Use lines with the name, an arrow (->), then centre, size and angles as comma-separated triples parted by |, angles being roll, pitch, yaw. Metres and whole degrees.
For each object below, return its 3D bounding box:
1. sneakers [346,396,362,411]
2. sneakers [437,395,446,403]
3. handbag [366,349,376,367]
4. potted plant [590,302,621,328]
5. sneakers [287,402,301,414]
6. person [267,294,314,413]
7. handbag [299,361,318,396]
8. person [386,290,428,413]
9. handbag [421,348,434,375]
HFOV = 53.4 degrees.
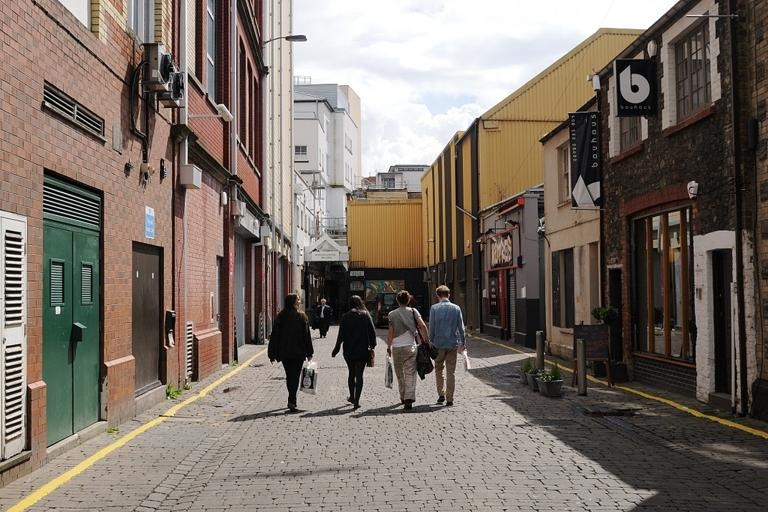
sneakers -> -0.585, 2.822, 14.651 | 0.110, 0.270, 0.344 | 3, 4, 21
sneakers -> 1.099, 2.802, 14.880 | 0.150, 0.157, 0.261 | -4, -6, 10
handbag -> -0.285, 1.953, 14.831 | 0.153, 0.309, 0.102 | 1, -6, -32
potted plant -> 5.321, 1.400, 18.218 | 0.517, 0.635, 0.572 | 5, -2, -18
sneakers -> -1.679, 2.819, 14.253 | 0.236, 0.194, 0.544 | -2, -7, -8
person -> -1.816, 1.827, 14.750 | 0.833, 2.243, 1.028 | -2, -5, -9
handbag -> -1.473, 2.334, 14.781 | 0.324, 0.615, 0.273 | -3, -5, 2
person -> 0.449, 1.794, 14.840 | 0.749, 2.261, 1.066 | -3, -5, -1
handbag -> 0.805, 2.018, 14.668 | 0.280, 0.514, 0.340 | -6, -6, 33
